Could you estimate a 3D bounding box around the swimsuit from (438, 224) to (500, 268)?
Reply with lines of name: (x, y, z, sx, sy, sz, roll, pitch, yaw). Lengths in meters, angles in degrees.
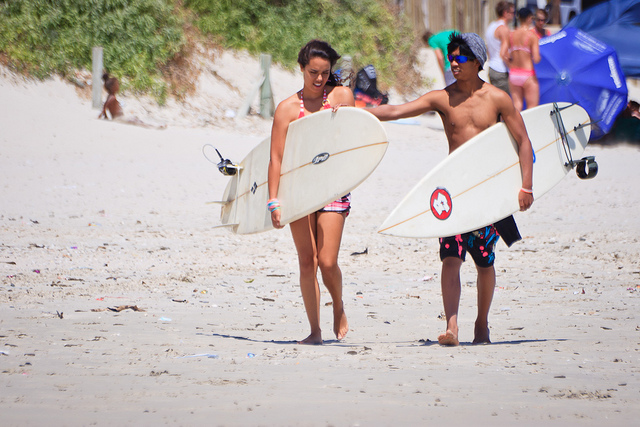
swimsuit: (1.527, 0.335, 12.064, 0.598, 0.436, 0.193, 3, 9, 4)

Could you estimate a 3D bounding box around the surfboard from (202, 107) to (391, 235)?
surfboard: (-0.098, -0.469, 12.168, 2.592, 0.835, 0.604, -19, -14, 24)

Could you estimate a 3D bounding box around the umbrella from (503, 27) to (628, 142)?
umbrella: (3.996, -2.124, 18.038, 1.941, 1.776, 0.659, 26, 3, 24)

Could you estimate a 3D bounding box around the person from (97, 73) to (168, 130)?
person: (-2.852, -1.727, 18.090, 1.024, 0.787, 1.127, 1, 9, -7)

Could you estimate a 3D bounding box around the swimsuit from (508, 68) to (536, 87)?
swimsuit: (2.885, -1.948, 16.701, 0.272, 0.244, 0.387, 6, 0, -44)

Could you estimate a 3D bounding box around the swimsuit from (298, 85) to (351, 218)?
swimsuit: (0.050, -0.643, 12.093, 0.583, 1.313, 0.366, 5, 9, 13)

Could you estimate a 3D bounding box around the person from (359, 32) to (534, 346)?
person: (1.602, -0.290, 12.295, 1.180, 3.150, 1.364, 10, 12, 41)
